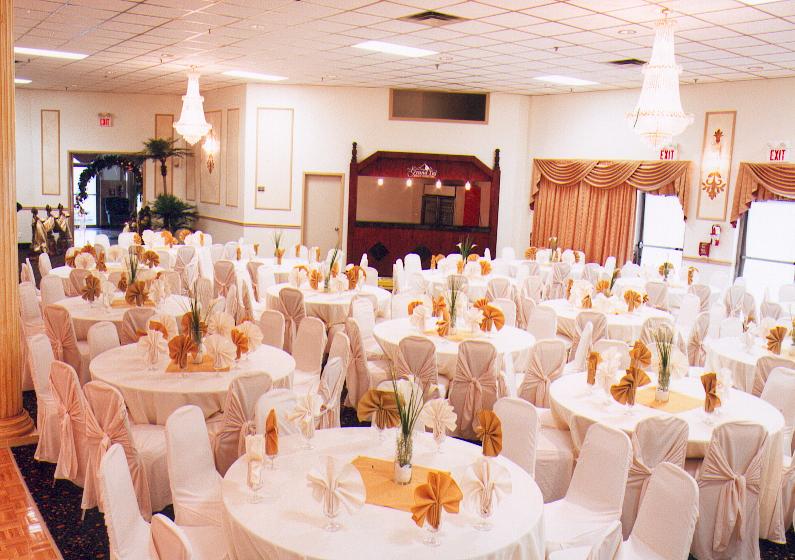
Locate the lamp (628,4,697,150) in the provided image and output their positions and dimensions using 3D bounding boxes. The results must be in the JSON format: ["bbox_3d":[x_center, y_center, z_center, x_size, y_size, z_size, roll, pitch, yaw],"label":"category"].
[{"bbox_3d":[3.508,-2.694,8.307,0.669,1.692,0.736,6,9,37],"label":"lamp"}]
